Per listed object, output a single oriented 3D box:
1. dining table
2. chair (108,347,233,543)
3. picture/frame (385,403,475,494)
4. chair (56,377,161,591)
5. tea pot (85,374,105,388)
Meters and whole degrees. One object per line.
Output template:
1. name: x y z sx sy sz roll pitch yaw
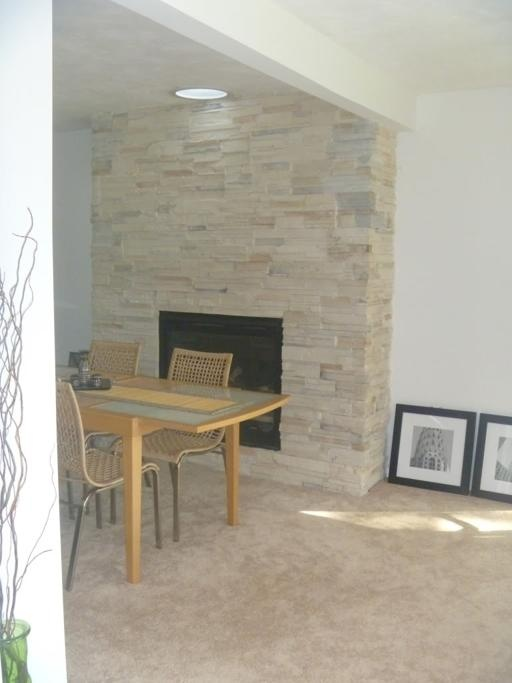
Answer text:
1. dining table: -0.410 0.381 2.581 1.148 0.619 0.874 8 12 35
2. chair: -0.458 0.548 3.069 0.652 0.909 0.677 7 12 13
3. picture/frame: 1.114 0.679 3.636 0.572 0.551 0.040 4 -6 30
4. chair: -0.701 0.553 2.503 0.570 0.687 0.529 6 1 -10
5. tea pot: -0.778 0.185 2.825 0.072 0.062 0.064 6 14 17
